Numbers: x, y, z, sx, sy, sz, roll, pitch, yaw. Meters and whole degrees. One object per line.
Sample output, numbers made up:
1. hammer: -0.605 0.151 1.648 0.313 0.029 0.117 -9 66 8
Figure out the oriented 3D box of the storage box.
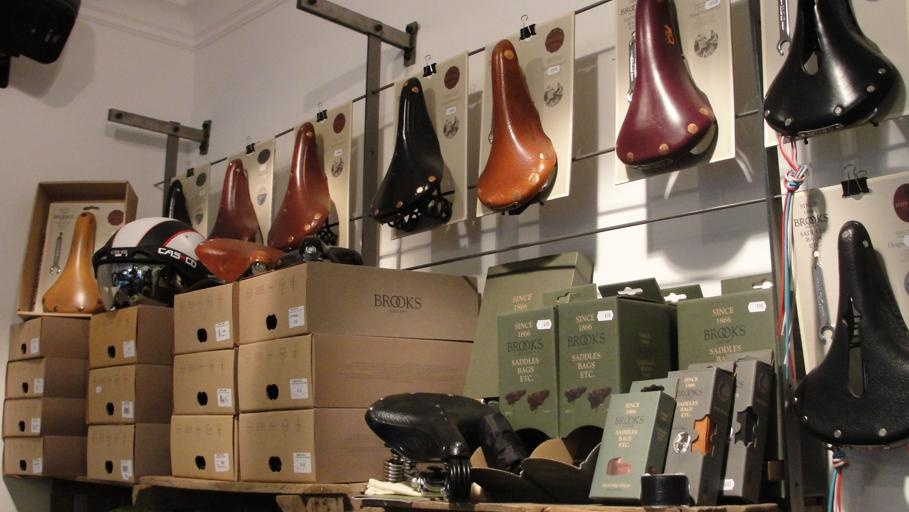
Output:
1. storage box: -1.176 0.216 3.767 2.491 1.752 0.583 -10 -17 29
